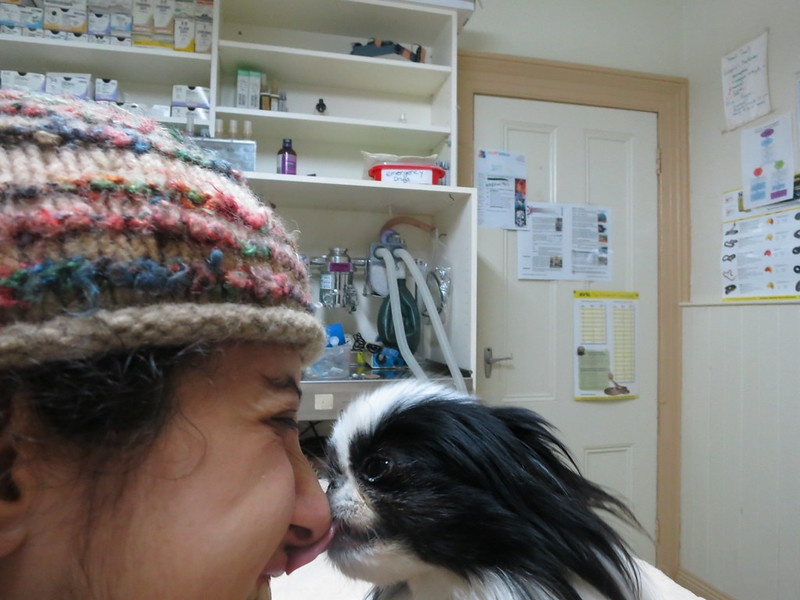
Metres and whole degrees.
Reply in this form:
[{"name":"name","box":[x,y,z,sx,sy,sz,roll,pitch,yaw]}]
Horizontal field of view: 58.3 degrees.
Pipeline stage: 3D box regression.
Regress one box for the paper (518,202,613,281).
[{"name":"paper","box":[0.716,-0.257,3.202,0.315,0.261,0.015,-1,2,-9]}]
